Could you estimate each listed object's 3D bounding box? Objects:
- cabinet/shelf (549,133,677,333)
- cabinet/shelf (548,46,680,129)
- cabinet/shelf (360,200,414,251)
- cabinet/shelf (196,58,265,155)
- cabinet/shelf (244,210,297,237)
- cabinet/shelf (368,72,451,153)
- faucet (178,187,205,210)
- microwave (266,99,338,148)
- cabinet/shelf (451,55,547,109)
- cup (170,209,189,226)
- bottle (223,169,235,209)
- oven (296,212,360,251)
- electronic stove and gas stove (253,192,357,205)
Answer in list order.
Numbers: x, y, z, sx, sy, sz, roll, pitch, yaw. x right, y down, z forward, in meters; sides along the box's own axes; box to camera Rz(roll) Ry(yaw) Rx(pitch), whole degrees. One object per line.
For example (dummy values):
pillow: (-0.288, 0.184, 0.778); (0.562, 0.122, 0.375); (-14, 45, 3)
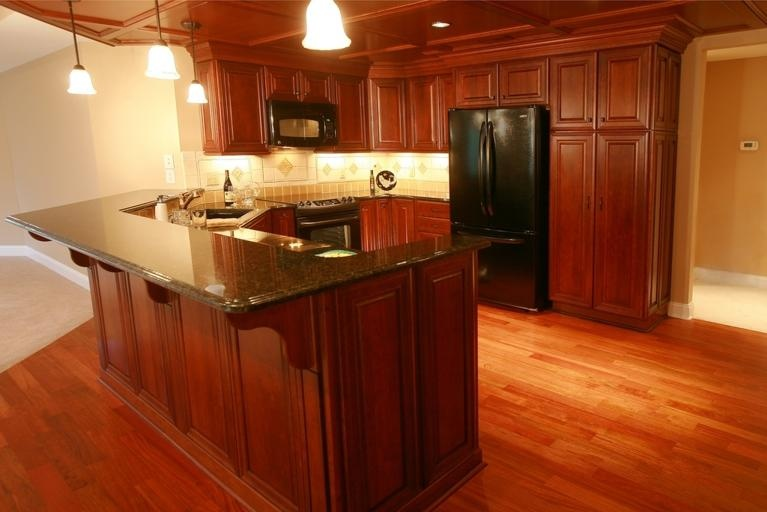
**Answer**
cabinet/shelf: (2.355, -0.303, 5.543); (1.166, 1.883, 0.620); (16, 18, 36)
cabinet/shelf: (2.335, -1.631, 5.387); (0.660, 0.720, 1.172); (-16, 21, -29)
cabinet/shelf: (0.067, -0.409, 6.894); (0.713, 0.658, 0.302); (5, 15, 0)
cabinet/shelf: (-1.586, -1.564, 5.834); (0.734, 0.959, 0.332); (1, 16, -16)
cabinet/shelf: (-1.164, -0.361, 5.835); (0.292, 0.370, 0.425); (10, 17, 34)
cabinet/shelf: (0.432, -1.741, 6.765); (1.306, 0.925, 0.312); (6, 20, 24)
faucet: (-1.792, -0.532, 5.060); (0.151, 0.219, 0.642); (-9, 12, -36)
microwave: (-0.808, -1.533, 6.424); (0.943, 0.506, 0.545); (9, 18, 30)
cabinet/shelf: (1.249, -1.803, 5.642); (0.805, 0.305, 0.128); (9, 17, 33)
cup: (-1.746, -0.322, 4.654); (0.143, 0.146, 0.248); (-5, 9, -39)
bottle: (-1.736, -0.774, 6.142); (0.126, 0.369, 0.487); (1, 14, -16)
oven: (-0.550, -0.283, 6.380); (0.498, 0.614, 0.732); (8, 14, 41)
electronic stove and gas stove: (-0.940, -0.684, 6.563); (1.089, 0.082, 0.749); (-7, 17, -41)
